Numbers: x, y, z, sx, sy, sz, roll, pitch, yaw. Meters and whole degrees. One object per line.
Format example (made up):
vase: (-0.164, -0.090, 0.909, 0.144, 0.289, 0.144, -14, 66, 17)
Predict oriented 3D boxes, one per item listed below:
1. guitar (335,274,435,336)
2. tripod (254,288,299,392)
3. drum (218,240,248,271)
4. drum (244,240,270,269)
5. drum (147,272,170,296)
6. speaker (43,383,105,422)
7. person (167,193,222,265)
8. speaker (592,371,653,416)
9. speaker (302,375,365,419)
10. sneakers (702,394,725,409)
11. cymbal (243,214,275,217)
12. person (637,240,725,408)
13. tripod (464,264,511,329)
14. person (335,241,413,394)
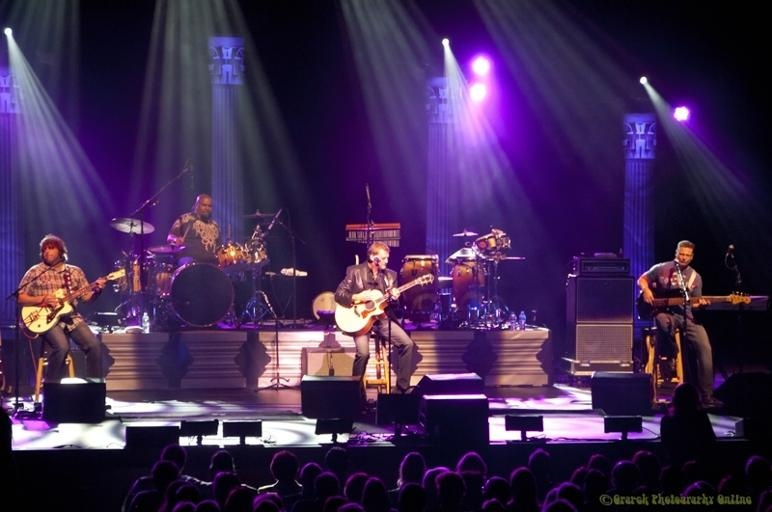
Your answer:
guitar: (-0.018, 0.793, 12.822, 1.545, 0.628, 0.230, -26, -22, -4)
tripod: (-1.951, 1.434, 14.235, 0.548, 1.677, 1.383, 1, -3, -8)
drum: (-2.715, 0.003, 14.296, 0.452, 0.323, 0.442, -5, -23, -2)
drum: (-2.318, -0.064, 14.581, 0.446, 0.461, 0.449, -7, -20, 11)
drum: (-3.998, 0.494, 14.363, 0.446, 0.425, 0.384, 1, -4, -5)
speaker: (-4.305, 2.022, 11.245, 0.631, 0.389, 0.637, 1, -2, -13)
person: (-3.438, -0.471, 14.638, 0.875, 1.289, 0.452, 1, -2, -13)
speaker: (3.276, 1.912, 11.421, 0.957, 0.713, 0.538, 0, -8, 4)
speaker: (-0.781, 1.947, 11.249, 0.952, 0.592, 0.508, 0, 1, -1)
sneakers: (4.897, 2.206, 12.298, 0.298, 0.207, 0.546, 0, -3, 16)
cymbal: (-2.429, -0.758, 15.308, 0.262, 0.050, 0.264, 2, 6, 19)
person: (4.632, 1.037, 12.916, 1.162, 2.528, 0.891, -1, -3, 29)
tripod: (2.108, 0.721, 15.499, 1.060, 1.158, 1.068, 1, -3, 1)
person: (-0.106, 0.918, 12.987, 1.045, 2.486, 0.376, 19, 6, 23)
